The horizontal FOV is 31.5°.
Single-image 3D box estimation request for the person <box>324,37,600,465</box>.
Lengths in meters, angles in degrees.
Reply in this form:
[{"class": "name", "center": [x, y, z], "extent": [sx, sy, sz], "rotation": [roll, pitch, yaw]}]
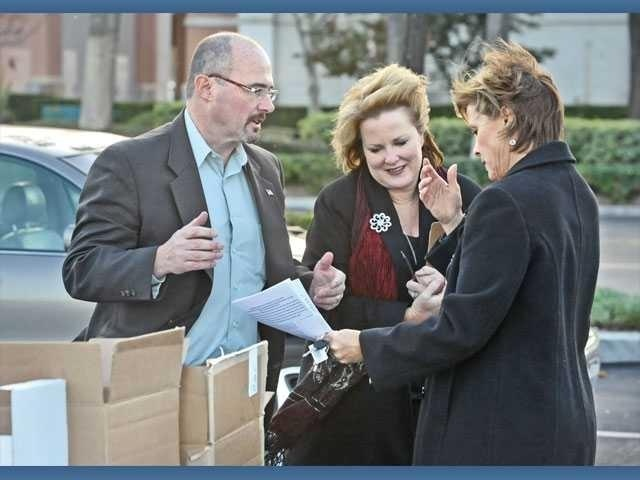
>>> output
[{"class": "person", "center": [0.872, 0.091, 5.852], "extent": [1.108, 2.217, 0.445], "rotation": [-2, 4, 9]}]
